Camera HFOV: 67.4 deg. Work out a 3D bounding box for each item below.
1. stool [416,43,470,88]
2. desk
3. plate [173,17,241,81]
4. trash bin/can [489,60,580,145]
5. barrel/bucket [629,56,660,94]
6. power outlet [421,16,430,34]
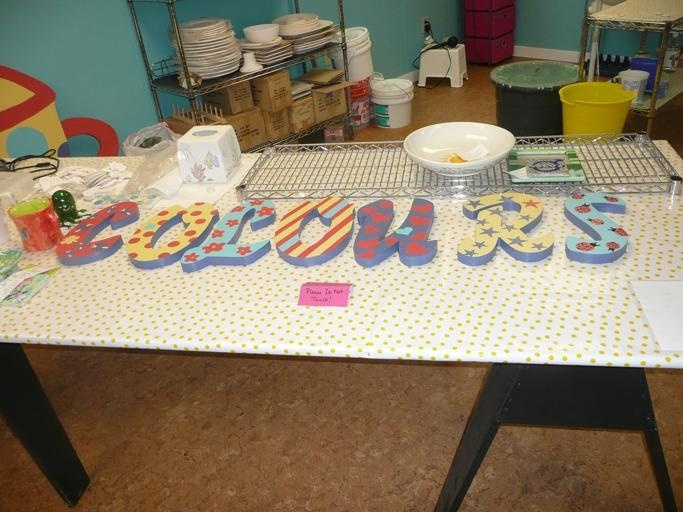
[{"bbox_3d":[1.132,-2.130,5.650,0.275,0.446,0.470,35,62,25],"label":"stool"},{"bbox_3d":[-0.120,0.592,2.119,2.182,0.869,0.977,2,48,4],"label":"desk"},{"bbox_3d":[-0.894,-1.395,3.525,0.479,0.285,0.431,-9,27,-3],"label":"plate"},{"bbox_3d":[1.440,-1.167,3.786,0.629,0.400,0.553,-5,40,3],"label":"trash bin/can"},{"bbox_3d":[2.318,-1.394,3.927,0.163,0.161,0.170,6,21,-2],"label":"barrel/bucket"},{"bbox_3d":[0.929,-2.507,5.555,0.056,0.174,0.148,16,39,30],"label":"power outlet"}]
